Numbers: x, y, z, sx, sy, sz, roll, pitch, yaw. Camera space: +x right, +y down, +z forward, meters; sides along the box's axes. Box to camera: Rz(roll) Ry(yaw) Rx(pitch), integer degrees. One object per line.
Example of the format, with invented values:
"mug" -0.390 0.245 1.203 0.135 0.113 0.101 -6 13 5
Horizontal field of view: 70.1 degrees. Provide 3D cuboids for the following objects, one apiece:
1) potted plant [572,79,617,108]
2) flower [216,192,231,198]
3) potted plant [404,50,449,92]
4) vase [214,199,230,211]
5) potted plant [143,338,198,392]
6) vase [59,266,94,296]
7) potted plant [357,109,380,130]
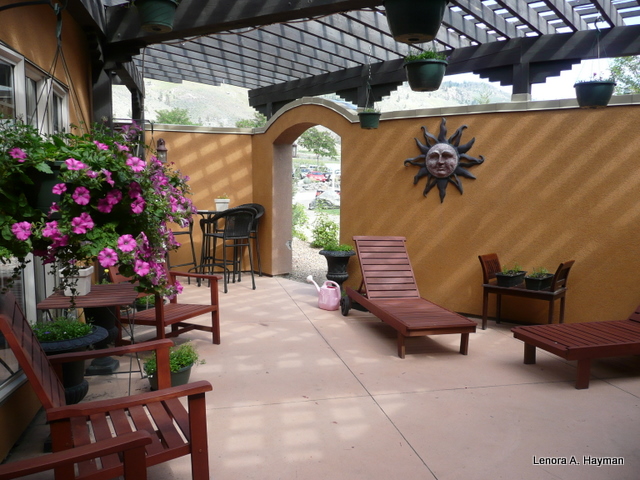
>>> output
"potted plant" 3.188 -1.635 5.282 0.397 0.230 0.378 -5 7 -29
"flower" -1.843 -0.819 8.655 0.252 0.088 0.233 -7 -5 41
"potted plant" 1.157 -1.779 4.890 0.493 0.276 0.482 -4 -6 33
"vase" -1.811 -0.630 8.357 0.286 0.183 0.249 -2 3 -9
"potted plant" -1.309 1.077 3.981 0.608 0.372 0.566 0 -7 -18
"vase" -1.815 0.311 3.376 0.238 0.210 0.323 1 4 -5
"potted plant" 0.713 -1.736 6.505 0.332 0.192 0.315 0 2 24
